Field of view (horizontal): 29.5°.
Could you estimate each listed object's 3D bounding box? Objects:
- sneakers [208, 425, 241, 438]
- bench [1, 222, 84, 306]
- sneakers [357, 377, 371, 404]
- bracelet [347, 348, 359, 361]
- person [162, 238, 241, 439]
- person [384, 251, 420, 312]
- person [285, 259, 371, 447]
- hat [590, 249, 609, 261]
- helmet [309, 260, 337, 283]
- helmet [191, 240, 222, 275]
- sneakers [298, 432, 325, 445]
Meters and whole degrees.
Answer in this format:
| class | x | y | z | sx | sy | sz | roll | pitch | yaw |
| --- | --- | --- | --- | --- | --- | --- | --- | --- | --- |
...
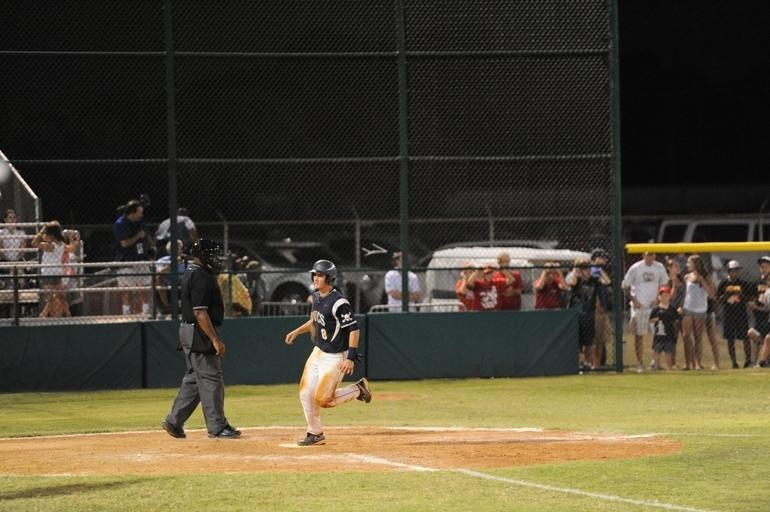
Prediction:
| class | x | y | z | sx | sy | sz | roll | pitch | yaw |
| --- | --- | --- | --- | --- | --- | --- | --- | --- | --- |
| sneakers | -2.673 | 2.891 | 23.930 | 0.483 | 0.227 | 0.215 | -3 | -4 | -2 |
| bench | -6.934 | 0.228 | 29.309 | 1.489 | 2.656 | 0.849 | 1 | -25 | -17 |
| sneakers | -0.367 | 2.232 | 23.659 | 0.168 | 0.493 | 0.214 | -4 | 23 | 19 |
| bracelet | -0.554 | 1.595 | 23.320 | 0.200 | 0.216 | 0.200 | 0 | -5 | -3 |
| person | -3.020 | 1.370 | 23.893 | 1.039 | 3.282 | 0.522 | 0 | -4 | -6 |
| person | 0.350 | 0.550 | 30.420 | 0.752 | 1.310 | 1.847 | -1 | -5 | 2 |
| person | -0.910 | 1.580 | 23.379 | 1.034 | 2.936 | 0.450 | 0 | -4 | -2 |
| hat | 4.418 | -0.009 | 30.175 | 0.406 | 0.263 | 0.209 | 0 | -5 | -8 |
| helmet | -0.955 | 0.278 | 23.549 | 0.452 | 0.345 | 0.336 | -12 | 16 | -36 |
| helmet | -2.984 | 0.016 | 24.037 | 0.553 | 0.542 | 0.480 | 12 | 3 | -28 |
| sneakers | -1.225 | 2.956 | 23.412 | 0.436 | 0.227 | 0.296 | 0 | -5 | -3 |
